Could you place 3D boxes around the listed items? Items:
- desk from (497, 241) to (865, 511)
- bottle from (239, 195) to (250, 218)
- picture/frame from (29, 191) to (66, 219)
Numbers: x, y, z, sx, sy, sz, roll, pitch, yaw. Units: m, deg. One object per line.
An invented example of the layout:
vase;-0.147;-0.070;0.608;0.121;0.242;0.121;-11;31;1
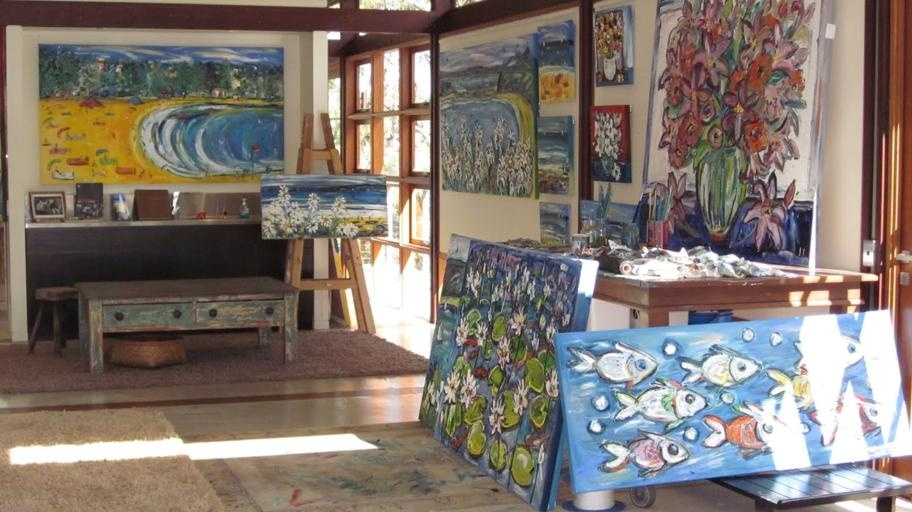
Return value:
desk;1.642;0.909;5.148;1.473;0.914;2.138;0;2;-24
bottle;-2.784;-0.632;9.498;0.126;0.256;0.237;-2;12;-16
picture/frame;-5.078;-0.614;8.929;0.410;0.297;0.037;0;-11;-26
